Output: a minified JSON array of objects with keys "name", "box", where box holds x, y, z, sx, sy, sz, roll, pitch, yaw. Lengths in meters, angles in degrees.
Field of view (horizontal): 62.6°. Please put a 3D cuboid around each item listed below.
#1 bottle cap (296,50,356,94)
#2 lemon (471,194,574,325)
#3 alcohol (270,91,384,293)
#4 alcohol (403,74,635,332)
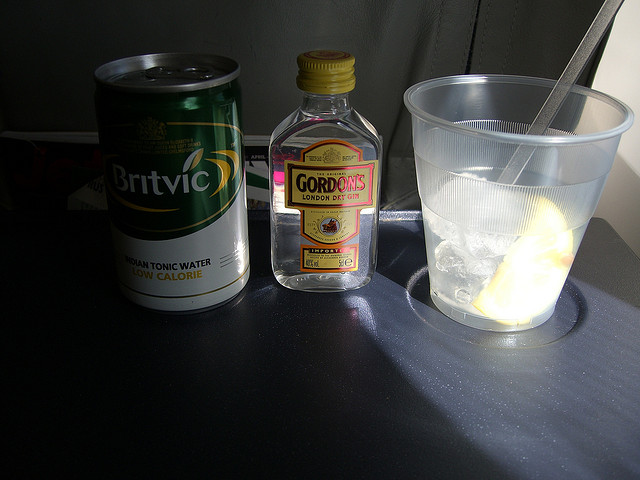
[{"name":"bottle cap","box":[0.007,-0.205,0.643,0.075,0.039,0.075,0,34,-1]},{"name":"lemon","box":[0.258,0.028,0.684,0.089,0.174,0.063,5,37,-2]},{"name":"alcohol","box":[0.008,-0.073,0.732,0.151,0.305,0.080,1,32,0]},{"name":"alcohol","box":[0.224,-0.057,0.797,0.330,0.334,0.342,-2,34,0]}]
